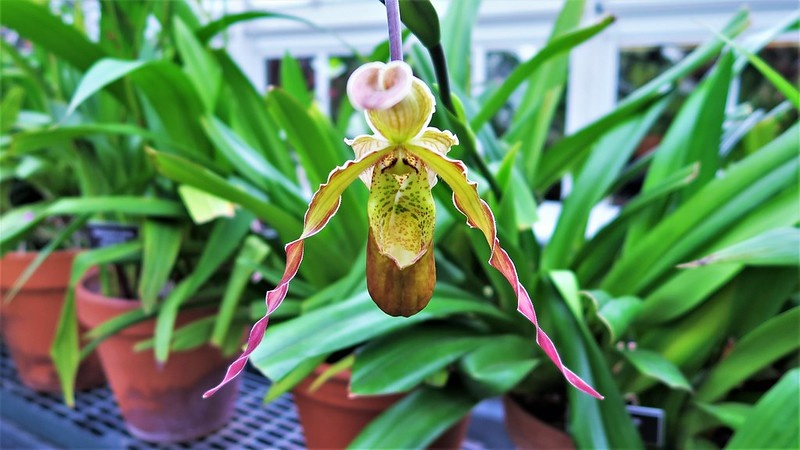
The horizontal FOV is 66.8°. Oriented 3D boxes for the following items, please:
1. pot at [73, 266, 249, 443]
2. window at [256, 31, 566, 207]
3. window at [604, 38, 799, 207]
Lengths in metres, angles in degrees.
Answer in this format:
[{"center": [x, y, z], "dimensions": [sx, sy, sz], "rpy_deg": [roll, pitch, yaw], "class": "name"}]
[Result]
[{"center": [-0.524, 0.280, 1.509], "dimensions": [0.400, 0.295, 0.387], "rpy_deg": [-2, 11, 0], "class": "pot"}, {"center": [-0.059, -0.436, 1.839], "dimensions": [0.623, 0.210, 0.668], "rpy_deg": [-20, 41, -38], "class": "window"}, {"center": [0.761, -0.281, 1.539], "dimensions": [0.648, 0.335, 0.189], "rpy_deg": [-10, 31, -24], "class": "window"}]
